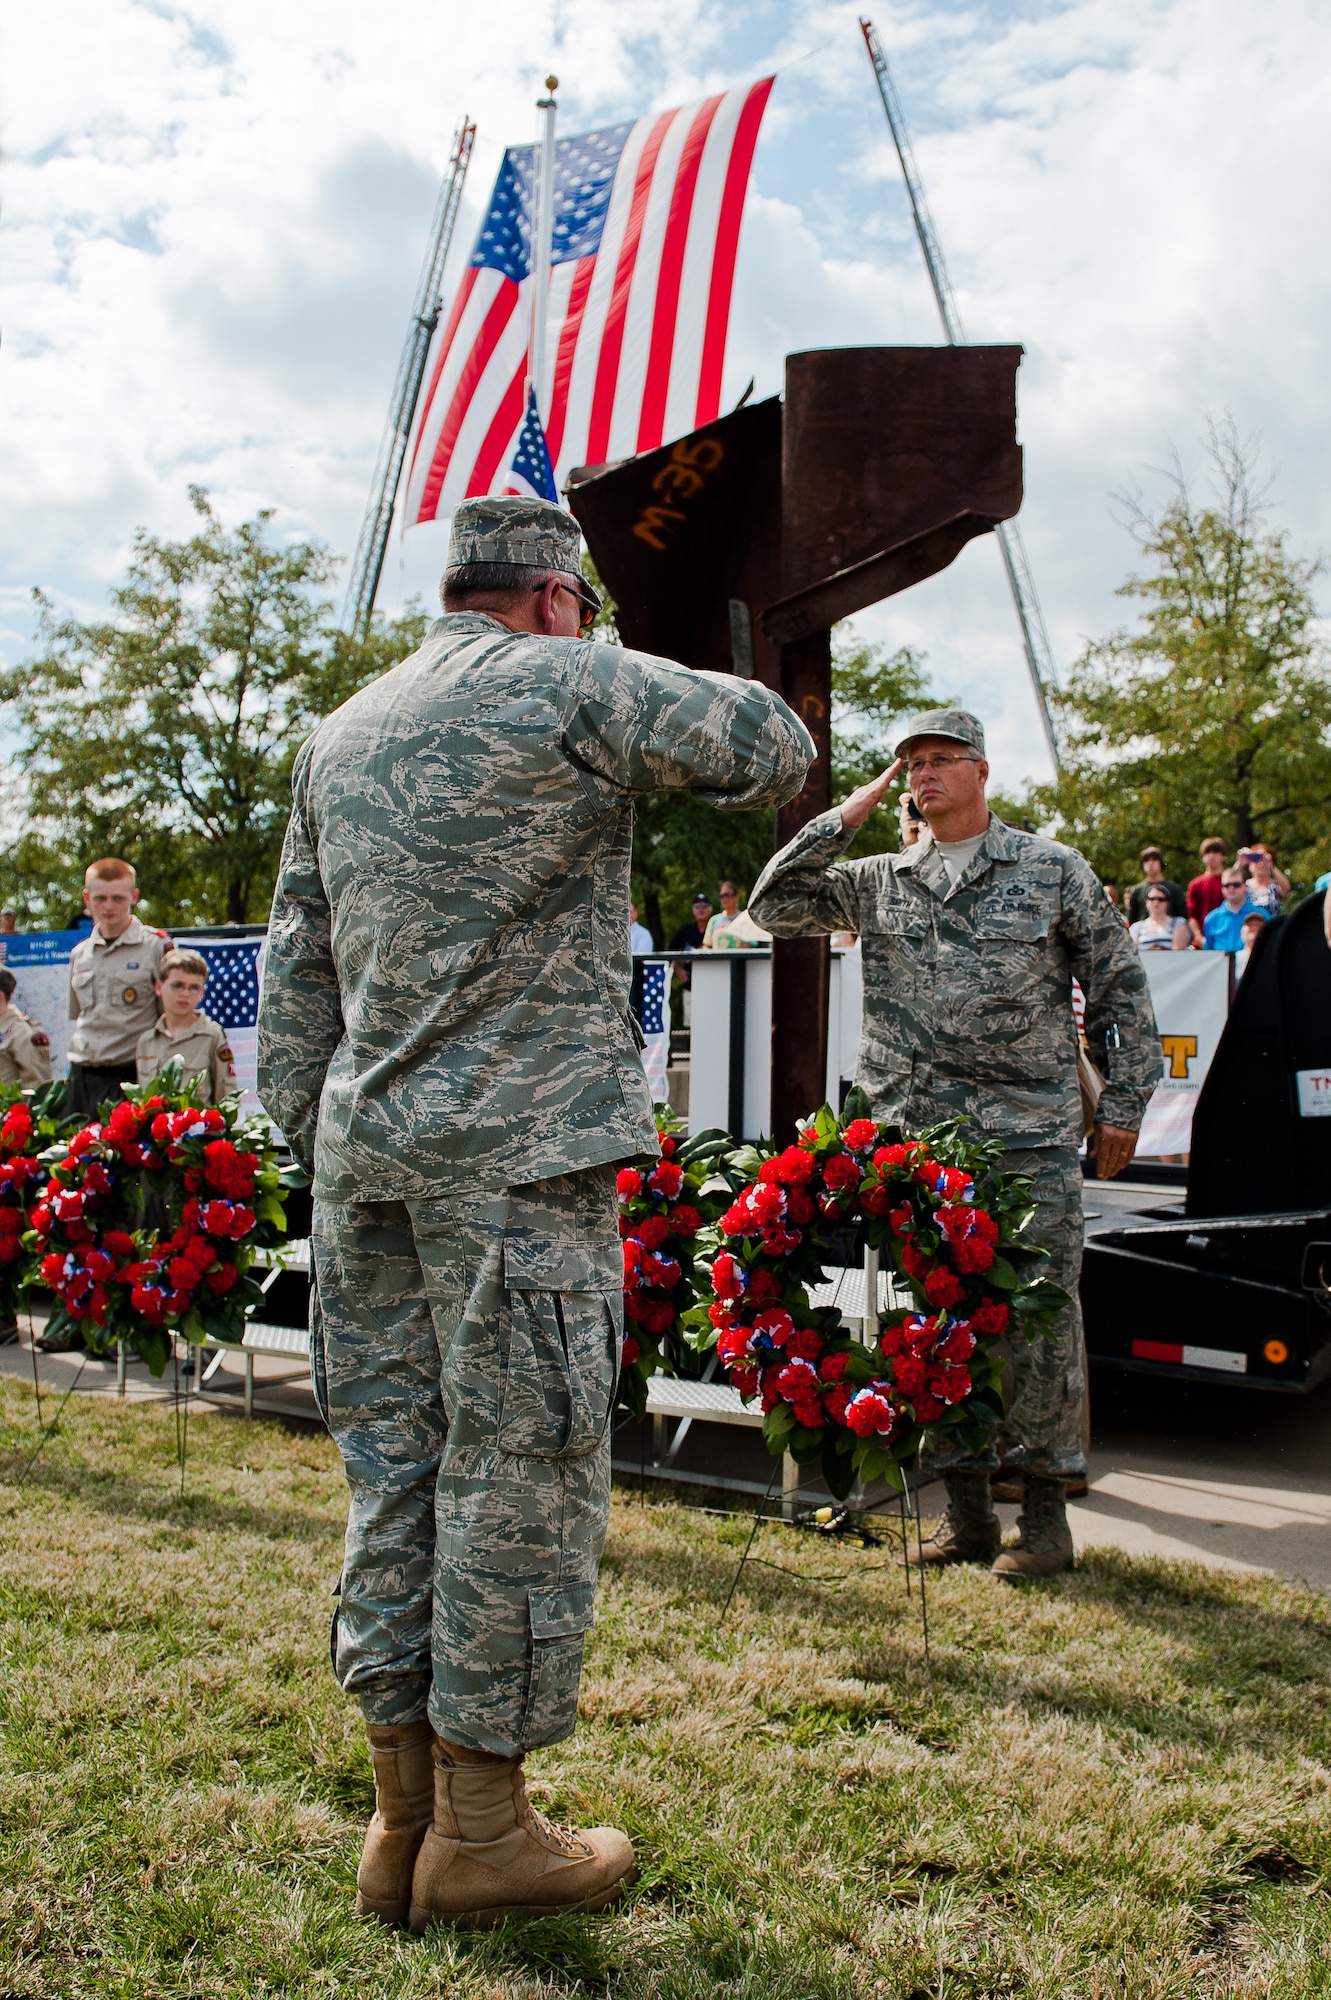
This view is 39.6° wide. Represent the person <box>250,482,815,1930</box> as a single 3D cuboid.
[{"bbox_3d":[-0.245,0.288,2.611,0.894,2.038,0.321,0,-2,31],"label":"person"}]

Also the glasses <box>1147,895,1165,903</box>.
[{"bbox_3d":[3.320,-0.670,12.457,0.063,0.060,0.024,-4,-5,33],"label":"glasses"}]

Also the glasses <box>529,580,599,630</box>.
[{"bbox_3d":[-0.145,-0.579,2.734,0.027,0.077,0.079,1,7,27],"label":"glasses"}]

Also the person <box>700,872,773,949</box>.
[{"bbox_3d":[0.464,-0.571,12.822,0.521,0.700,0.272,-10,-18,17],"label":"person"}]

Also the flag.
[{"bbox_3d":[-0.513,-4.102,10.885,2.481,2.083,0.125,12,6,40],"label":"flag"}]
